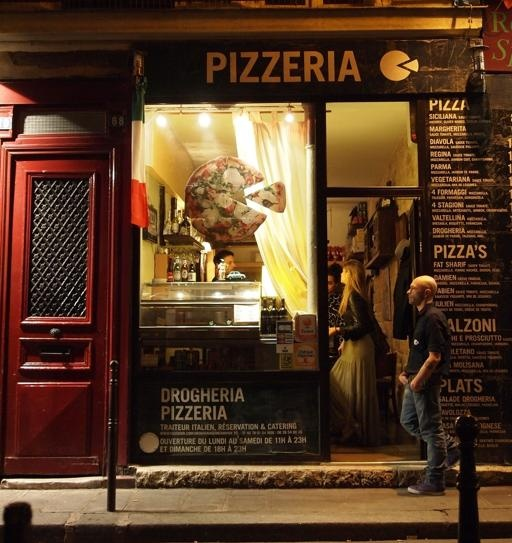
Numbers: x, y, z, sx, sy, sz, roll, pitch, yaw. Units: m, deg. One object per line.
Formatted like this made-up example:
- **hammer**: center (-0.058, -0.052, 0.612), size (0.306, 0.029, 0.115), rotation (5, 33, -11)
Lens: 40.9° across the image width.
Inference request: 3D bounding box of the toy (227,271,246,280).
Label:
- **toy**: center (-0.198, 0.037, 6.896), size (0.159, 0.081, 0.087), rotation (-1, -2, 2)

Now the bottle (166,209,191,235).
- **bottle**: center (-0.795, -0.500, 7.002), size (0.255, 0.250, 0.045), rotation (-2, 10, -4)

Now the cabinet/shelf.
- **cabinet/shelf**: center (-0.532, 0.575, 6.916), size (1.181, 0.844, 0.665), rotation (0, -16, 3)

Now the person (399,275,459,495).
- **person**: center (1.517, 0.997, 6.004), size (0.467, 1.841, 0.595), rotation (-1, 10, 2)

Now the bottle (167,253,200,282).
- **bottle**: center (-0.735, -0.045, 7.007), size (0.333, 0.274, 0.182), rotation (-2, 11, -7)

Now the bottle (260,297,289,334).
- **bottle**: center (0.180, 0.432, 6.707), size (0.274, 0.323, 0.254), rotation (-1, 11, 0)

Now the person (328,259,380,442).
- **person**: center (0.996, 0.814, 7.002), size (0.489, 1.762, 0.630), rotation (0, 10, 6)

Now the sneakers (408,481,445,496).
- **sneakers**: center (1.466, 1.867, 5.960), size (0.315, 0.138, 0.112), rotation (2, -6, 15)
